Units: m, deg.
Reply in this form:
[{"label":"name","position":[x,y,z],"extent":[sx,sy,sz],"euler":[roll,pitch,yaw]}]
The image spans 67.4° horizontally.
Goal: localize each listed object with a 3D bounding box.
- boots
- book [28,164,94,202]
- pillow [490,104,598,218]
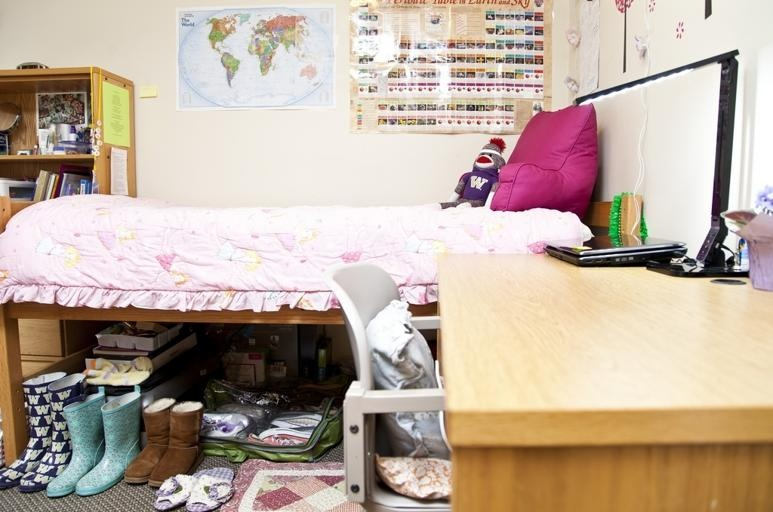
[{"label":"boots","position":[-1.268,0.791,2.495],"extent":[0.503,0.371,0.540],"euler":[3,-2,-2]},{"label":"book","position":[-1.888,-0.425,3.345],"extent":[0.281,0.120,0.355],"euler":[1,3,-8]},{"label":"pillow","position":[0.773,-0.450,2.904],"extent":[0.583,0.542,0.599],"euler":[-3,13,-8]}]
